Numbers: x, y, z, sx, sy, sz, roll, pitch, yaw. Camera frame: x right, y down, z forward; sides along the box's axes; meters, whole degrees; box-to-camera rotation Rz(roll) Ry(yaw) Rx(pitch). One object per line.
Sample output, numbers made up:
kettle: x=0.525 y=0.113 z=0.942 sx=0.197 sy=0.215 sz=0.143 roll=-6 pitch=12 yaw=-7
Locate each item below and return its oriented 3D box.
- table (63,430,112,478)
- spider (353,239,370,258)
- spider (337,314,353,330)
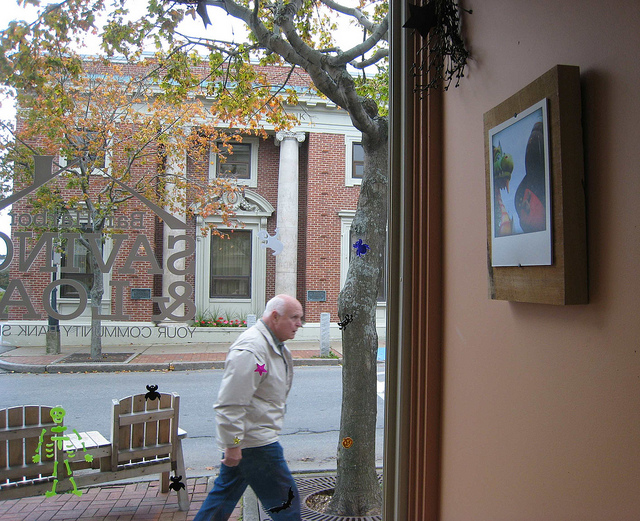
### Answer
table: x=-1.875 y=1.525 z=5.919 sx=0.341 sy=0.306 sz=0.419 roll=3 pitch=0 yaw=-25
spider: x=0.342 y=-0.106 z=5.985 sx=0.114 sy=0.135 sz=0.061 roll=-11 pitch=2 yaw=4
spider: x=0.182 y=0.491 z=5.856 sx=0.148 sy=0.110 sz=0.101 roll=-10 pitch=2 yaw=37
